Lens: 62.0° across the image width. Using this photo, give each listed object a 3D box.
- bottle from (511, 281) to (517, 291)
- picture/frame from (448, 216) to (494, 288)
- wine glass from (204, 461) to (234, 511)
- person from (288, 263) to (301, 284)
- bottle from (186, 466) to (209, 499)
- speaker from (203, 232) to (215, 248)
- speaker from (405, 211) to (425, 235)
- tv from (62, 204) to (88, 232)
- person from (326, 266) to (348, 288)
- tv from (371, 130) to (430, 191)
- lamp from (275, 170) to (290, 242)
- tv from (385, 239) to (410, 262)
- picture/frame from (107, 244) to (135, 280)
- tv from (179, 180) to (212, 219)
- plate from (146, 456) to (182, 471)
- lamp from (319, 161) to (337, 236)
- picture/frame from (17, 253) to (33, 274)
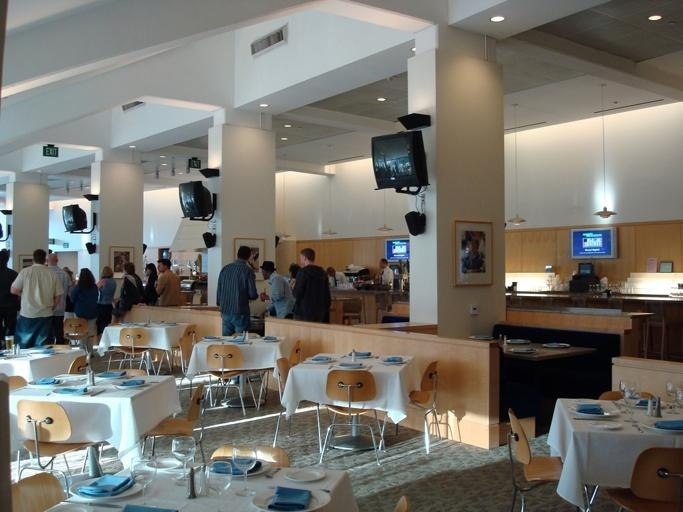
[{"bbox_3d":[3.959,0.712,13.011,0.145,0.217,0.147,-1,2,0],"label":"bottle"},{"bbox_3d":[1.793,-0.029,7.704,0.731,0.841,0.076,0,0,-36],"label":"picture/frame"},{"bbox_3d":[-0.666,1.239,3.075,0.143,0.255,0.276,0,0,-13],"label":"wine glass"},{"bbox_3d":[-0.928,0.358,11.083,0.346,0.318,0.835,-11,2,-9],"label":"person"},{"bbox_3d":[-0.794,1.257,3.183,0.123,0.220,0.137,1,11,-13],"label":"bottle"},{"bbox_3d":[-2.613,-0.298,10.926,0.251,0.332,0.259,-7,8,-42],"label":"speaker"},{"bbox_3d":[0.981,-0.425,7.504,0.289,0.378,0.287,-2,2,-40],"label":"speaker"},{"bbox_3d":[-7.083,-1.005,15.083,0.506,0.785,0.960,0,0,-29],"label":"tv"},{"bbox_3d":[-0.106,0.561,14.525,0.343,0.356,0.983,4,-21,33],"label":"person"},{"bbox_3d":[0.798,-1.282,7.612,0.670,0.723,0.393,0,12,40],"label":"tv"},{"bbox_3d":[-2.231,-1.830,21.117,0.311,2.575,0.861,0,0,-27],"label":"lamp"},{"bbox_3d":[1.682,-0.175,17.179,0.291,0.620,1.010,0,0,-34],"label":"tv"},{"bbox_3d":[-5.078,0.162,12.964,0.040,0.996,0.819,-6,-5,35],"label":"picture/frame"},{"bbox_3d":[-2.716,-1.057,10.789,0.658,0.637,0.393,1,11,39],"label":"tv"},{"bbox_3d":[-0.990,1.165,3.158,0.111,0.024,0.113,1,3,-29],"label":"plate"},{"bbox_3d":[-0.456,-1.855,19.244,0.335,2.387,0.720,0,0,-29],"label":"lamp"},{"bbox_3d":[-7.802,0.178,13.951,0.025,0.529,0.505,-3,-2,37],"label":"picture/frame"}]
